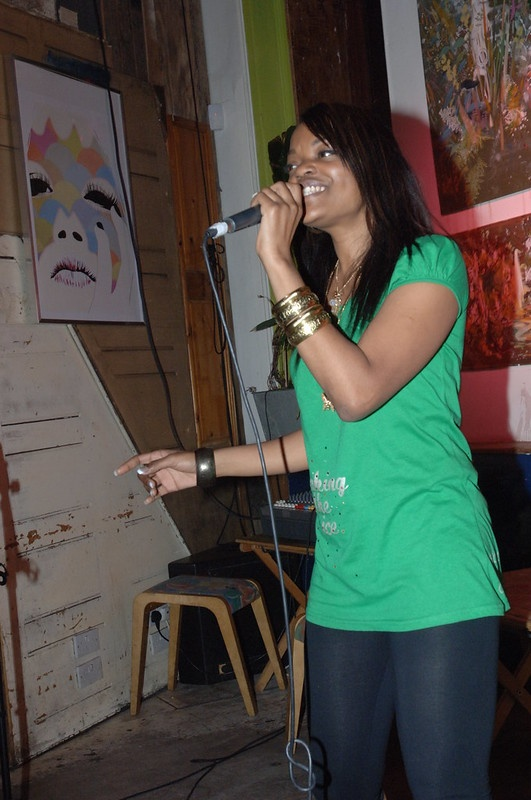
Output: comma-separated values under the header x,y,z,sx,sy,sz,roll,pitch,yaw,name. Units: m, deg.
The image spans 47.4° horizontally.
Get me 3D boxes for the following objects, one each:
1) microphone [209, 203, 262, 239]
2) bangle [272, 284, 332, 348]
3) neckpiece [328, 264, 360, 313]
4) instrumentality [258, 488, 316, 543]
x,y,z,sx,sy,sz,roll,pitch,yaw,name
-0.044,-0.249,0.833,0.035,0.040,0.136,25,28,25,microphone
0.035,-0.095,0.746,0.058,0.072,0.073,-3,49,-22,bangle
0.117,-0.175,0.969,0.031,0.109,0.014,5,-19,11,neckpiece
0.107,0.492,2.479,0.219,0.151,0.165,3,1,16,instrumentality
